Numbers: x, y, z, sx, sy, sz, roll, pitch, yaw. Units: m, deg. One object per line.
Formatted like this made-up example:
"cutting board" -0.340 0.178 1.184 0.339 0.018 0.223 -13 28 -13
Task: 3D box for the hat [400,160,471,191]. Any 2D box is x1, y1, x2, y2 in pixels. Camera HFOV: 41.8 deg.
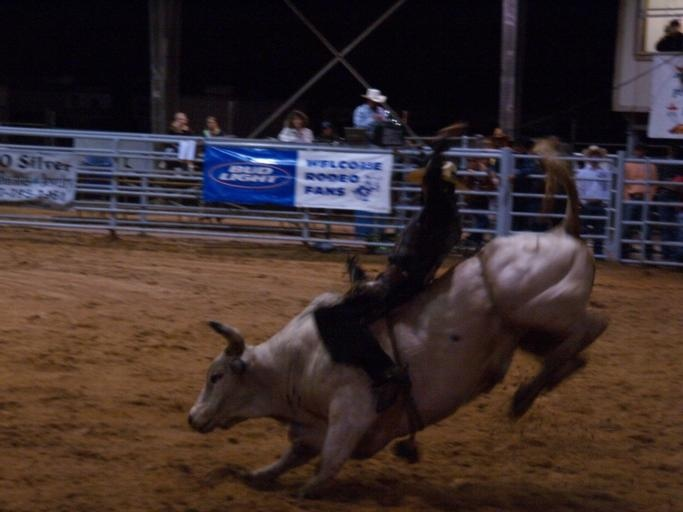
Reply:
"hat" 0.861 -0.760 7.945 0.426 0.133 0.327 8 -14 26
